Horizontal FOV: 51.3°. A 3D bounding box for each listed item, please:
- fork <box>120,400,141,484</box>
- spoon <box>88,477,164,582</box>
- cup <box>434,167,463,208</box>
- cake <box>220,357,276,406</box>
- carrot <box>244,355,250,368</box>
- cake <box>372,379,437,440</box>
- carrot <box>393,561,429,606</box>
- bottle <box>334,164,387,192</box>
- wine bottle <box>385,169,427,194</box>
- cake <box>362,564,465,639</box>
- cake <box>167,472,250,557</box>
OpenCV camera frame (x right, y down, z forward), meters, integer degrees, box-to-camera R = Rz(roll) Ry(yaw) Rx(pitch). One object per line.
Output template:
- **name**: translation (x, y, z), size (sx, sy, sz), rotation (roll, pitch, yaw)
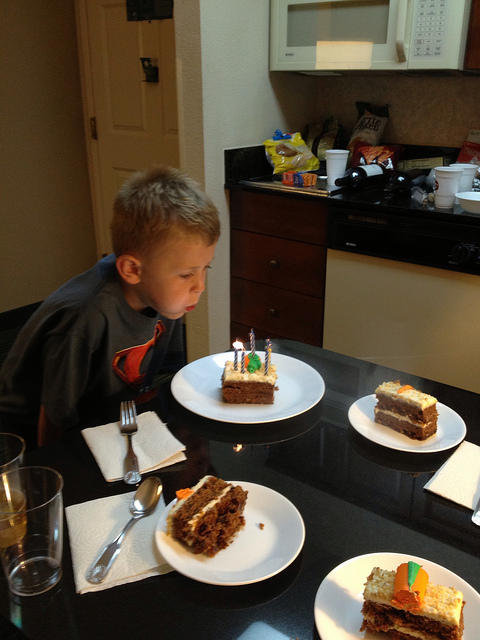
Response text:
- **fork**: translation (-0.179, 0.210, 0.819), size (0.028, 0.024, 0.224), rotation (1, 31, -15)
- **spoon**: translation (-0.152, 0.269, 0.641), size (0.024, 0.017, 0.132), rotation (3, 25, 12)
- **cup**: translation (0.812, -0.521, 1.957), size (0.095, 0.147, 0.161), rotation (8, 23, 23)
- **cake**: translation (0.030, 0.121, 1.047), size (0.128, 0.048, 0.136), rotation (8, 24, 27)
- **carrot**: translation (0.017, 0.088, 1.050), size (0.007, 0.008, 0.023), rotation (-7, 27, 15)
- **cake**: translation (0.305, 0.160, 0.913), size (0.061, 0.075, 0.107), rotation (-10, 14, -34)
- **carrot**: translation (0.177, 0.272, 0.520), size (0.029, 0.034, 0.043), rotation (-8, 6, 17)
- **bottle**: translation (0.566, -0.650, 2.282), size (0.315, 0.106, 0.094), rotation (-19, 27, -38)
- **wine bottle**: translation (0.745, -0.608, 2.194), size (0.126, 0.086, 0.221), rotation (18, 28, 41)
- **cake**: translation (0.180, 0.297, 0.520), size (0.096, 0.058, 0.068), rotation (6, 22, 19)
- **cake**: translation (-0.040, 0.255, 0.662), size (0.077, 0.055, 0.114), rotation (9, 23, 24)
